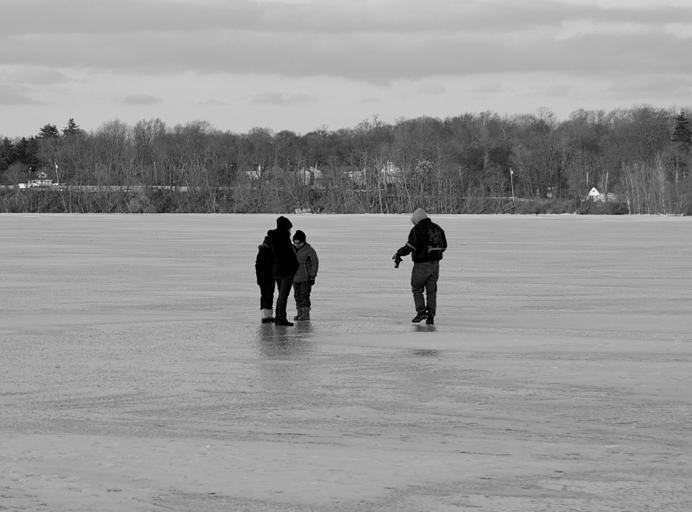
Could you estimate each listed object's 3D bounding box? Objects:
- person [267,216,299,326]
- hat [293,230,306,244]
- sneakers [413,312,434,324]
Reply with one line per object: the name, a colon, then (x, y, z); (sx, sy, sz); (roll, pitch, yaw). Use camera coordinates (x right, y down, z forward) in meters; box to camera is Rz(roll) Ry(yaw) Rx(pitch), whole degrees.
person: (-1.085, 0.231, 22.403); (0.477, 1.764, 1.006); (0, 3, -3)
hat: (-0.832, -0.315, 23.067); (0.188, 0.205, 0.240); (4, -12, 4)
sneakers: (1.189, 1.008, 22.335); (0.150, 0.172, 0.433); (1, 2, -34)
